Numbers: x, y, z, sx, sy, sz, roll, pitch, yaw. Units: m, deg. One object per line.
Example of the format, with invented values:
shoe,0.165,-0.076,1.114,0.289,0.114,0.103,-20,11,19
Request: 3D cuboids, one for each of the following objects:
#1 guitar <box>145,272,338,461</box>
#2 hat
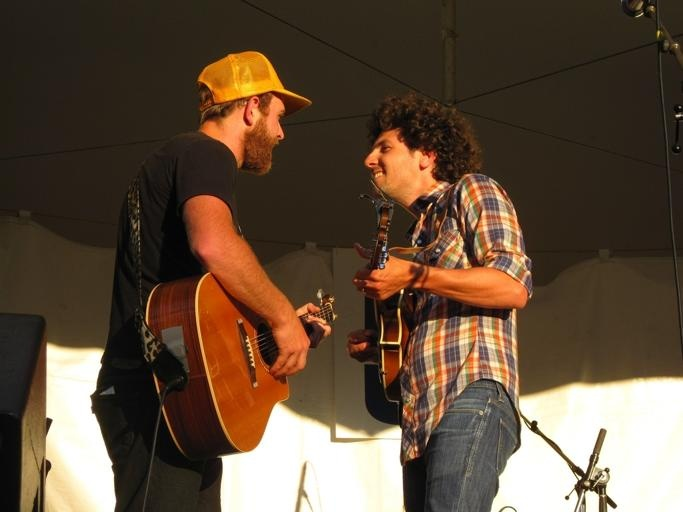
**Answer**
guitar,-0.455,0.536,6.084,0.370,1.070,1.785,-16,0,29
hat,-0.591,-1.115,5.946,0.549,0.336,0.394,-5,0,-19
